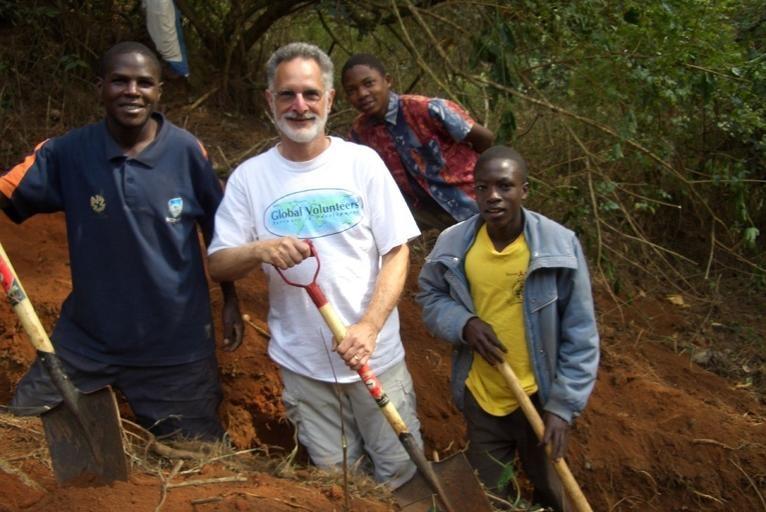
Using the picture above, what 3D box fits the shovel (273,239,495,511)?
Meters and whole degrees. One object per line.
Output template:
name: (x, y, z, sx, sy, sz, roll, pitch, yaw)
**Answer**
shovel: (-0.023, 0.946, 5.458, 0.421, 2.414, 0.336, -33, 4, 2)
